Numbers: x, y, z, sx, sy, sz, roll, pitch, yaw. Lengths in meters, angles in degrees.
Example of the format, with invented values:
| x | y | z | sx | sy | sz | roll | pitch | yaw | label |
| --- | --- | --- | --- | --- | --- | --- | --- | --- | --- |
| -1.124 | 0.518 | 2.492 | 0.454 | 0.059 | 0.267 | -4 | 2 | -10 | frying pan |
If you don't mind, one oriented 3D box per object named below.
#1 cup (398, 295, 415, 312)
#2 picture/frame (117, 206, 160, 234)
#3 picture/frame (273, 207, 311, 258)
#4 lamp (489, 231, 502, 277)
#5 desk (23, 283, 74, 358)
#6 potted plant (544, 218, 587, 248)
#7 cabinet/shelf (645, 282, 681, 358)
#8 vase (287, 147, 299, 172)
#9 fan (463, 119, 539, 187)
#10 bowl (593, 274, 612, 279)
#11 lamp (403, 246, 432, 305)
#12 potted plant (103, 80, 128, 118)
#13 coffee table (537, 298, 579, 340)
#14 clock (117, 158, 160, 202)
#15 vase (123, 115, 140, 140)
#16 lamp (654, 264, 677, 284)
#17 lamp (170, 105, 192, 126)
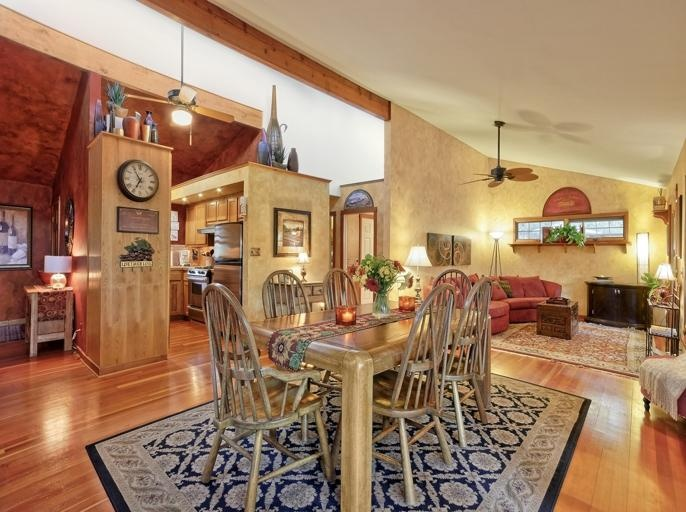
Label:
| x | y | z | sx | sy | sz | roll | pitch | yaw | label |
| --- | --- | --- | --- | --- | --- | --- | --- | --- | --- |
| 0.667 | 0.484 | 4.691 | 0.151 | 0.151 | 0.151 | 0 | 3 | 0 | cup |
| -2.526 | -0.445 | 5.453 | 0.047 | 0.258 | 0.357 | -1 | -2 | 45 | picture/frame |
| -0.819 | -0.379 | 6.926 | 0.054 | 0.805 | 0.788 | -4 | -5 | 44 | picture/frame |
| 3.287 | -0.076 | 9.591 | 0.266 | 0.939 | 0.560 | 1 | 1 | 19 | lamp |
| -3.969 | 1.006 | 6.207 | 0.626 | 0.922 | 0.692 | -2 | -24 | -27 | desk |
| 4.336 | -0.443 | 8.685 | 0.584 | 0.421 | 0.513 | 0 | 3 | -7 | potted plant |
| 4.627 | 0.834 | 6.427 | 0.377 | 0.938 | 2.380 | 1 | 1 | 36 | cabinet/shelf |
| -0.817 | -1.533 | 7.120 | 0.176 | 0.452 | 0.374 | 0 | 1 | -9 | vase |
| 2.489 | -1.688 | 7.140 | 1.000 | 0.910 | 1.128 | -3 | 5 | 4 | fan |
| 4.779 | 0.390 | 8.195 | 0.283 | 0.082 | 0.531 | 1 | 0 | 30 | bowl |
| 1.195 | 0.285 | 7.122 | 0.438 | 0.828 | 0.465 | 1 | 0 | 41 | lamp |
| -2.797 | -1.943 | 5.520 | 0.212 | 0.491 | 0.421 | 0 | 1 | -28 | potted plant |
| 3.469 | 0.980 | 7.053 | 0.748 | 0.548 | 0.776 | 0 | 1 | 24 | coffee table |
| -2.517 | -0.928 | 5.428 | 0.106 | 0.649 | 0.559 | -4 | -3 | 39 | clock |
| -2.587 | -1.569 | 5.467 | 0.190 | 0.288 | 0.143 | 0 | 1 | -35 | vase |
| 4.584 | 0.249 | 6.324 | 0.254 | 0.356 | 0.254 | -5 | 7 | -26 | lamp |
| -2.063 | -1.813 | 5.726 | 0.206 | 0.199 | 0.314 | 1 | 0 | -6 | lamp |
